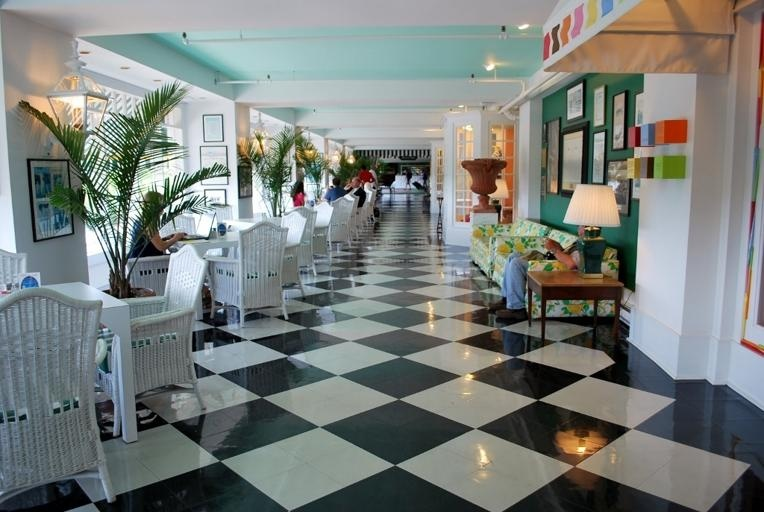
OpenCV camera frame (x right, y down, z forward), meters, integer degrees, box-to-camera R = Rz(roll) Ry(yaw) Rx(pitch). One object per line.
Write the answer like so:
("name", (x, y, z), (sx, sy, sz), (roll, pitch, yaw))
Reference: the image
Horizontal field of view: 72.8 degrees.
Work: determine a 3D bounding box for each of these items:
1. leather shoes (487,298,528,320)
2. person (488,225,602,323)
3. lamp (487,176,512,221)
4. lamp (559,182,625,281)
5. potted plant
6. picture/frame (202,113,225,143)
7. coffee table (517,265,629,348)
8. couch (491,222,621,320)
("leather shoes", (1.558, 0.603, 6.332), (0.261, 0.202, 0.320), (5, 5, -5))
("person", (1.941, 0.235, 6.444), (1.112, 1.288, 0.956), (2, 9, 8))
("lamp", (2.551, -1.212, 11.137), (0.351, 0.980, 1.798), (1, 10, 15))
("lamp", (2.201, -0.257, 5.387), (0.488, 0.946, 0.484), (6, 13, 35))
("potted plant", (-2.801, -0.772, 6.055), (2.534, 2.479, 2.238), (-7, -7, 32))
("picture/frame", (-3.584, -2.745, 11.073), (0.630, 0.727, 0.051), (1, 6, -3))
("coffee table", (2.088, 0.520, 5.611), (0.921, 0.698, 0.656), (-1, 10, 2))
("couch", (1.859, 0.241, 6.055), (0.988, 1.048, 1.579), (1, 4, 4))
